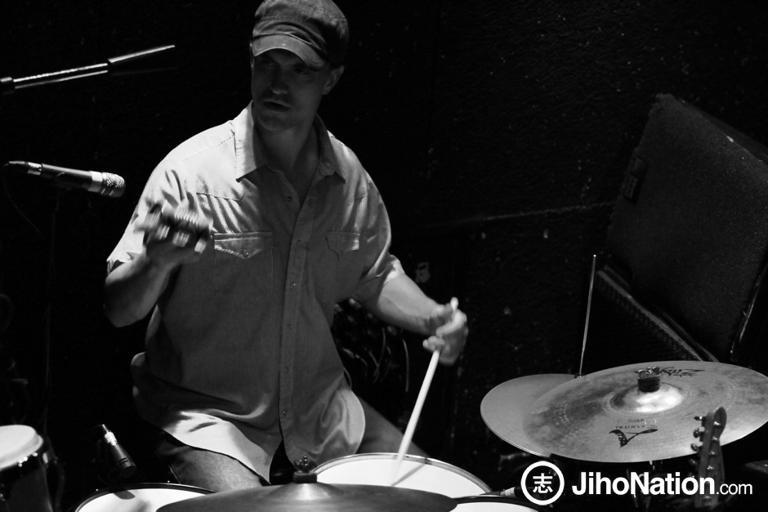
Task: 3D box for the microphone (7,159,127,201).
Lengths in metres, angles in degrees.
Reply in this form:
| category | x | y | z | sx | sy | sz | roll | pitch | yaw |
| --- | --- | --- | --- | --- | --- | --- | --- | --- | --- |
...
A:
| category | x | y | z | sx | sy | sz | roll | pitch | yaw |
| --- | --- | --- | --- | --- | --- | --- | --- | --- | --- |
| microphone | -0.982 | -0.225 | 2.527 | 0.300 | 0.087 | 0.079 | 15 | 13 | -16 |
